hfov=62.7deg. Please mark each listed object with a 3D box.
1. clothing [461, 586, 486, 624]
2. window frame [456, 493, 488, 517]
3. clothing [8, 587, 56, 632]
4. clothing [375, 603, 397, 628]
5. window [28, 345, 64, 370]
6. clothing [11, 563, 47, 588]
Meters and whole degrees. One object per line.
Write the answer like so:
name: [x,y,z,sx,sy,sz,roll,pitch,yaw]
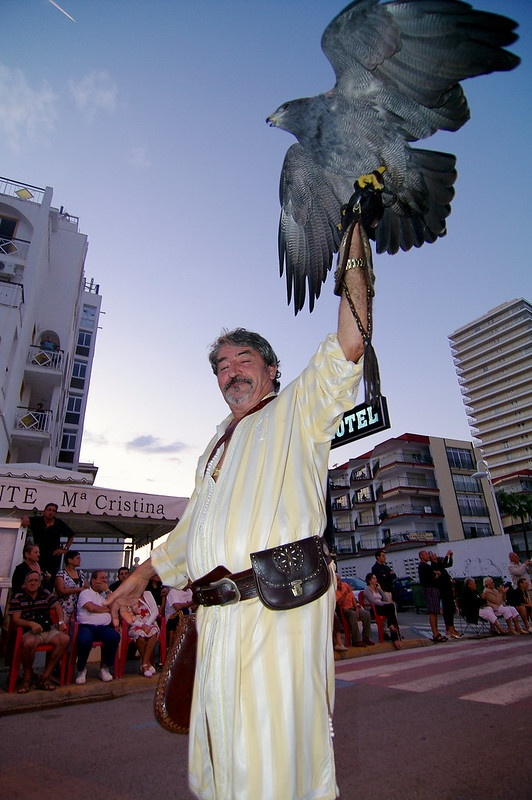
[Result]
clothing: [4.581,4.705,9.828,0.510,0.881,0.867,-9,-20,20]
window frame: [20.602,10.850,44.492,3.384,1.803,0.255,14,-33,-29]
clothing: [-2.824,2.611,5.329,0.640,0.469,0.311,15,-35,-36]
clothing: [2.356,4.270,8.500,0.348,0.432,0.581,2,-18,-12]
window: [-8.745,-1.728,17.471,1.244,0.709,0.584,5,-32,-24]
clothing: [-2.976,2.254,5.471,0.266,0.362,0.237,7,-21,-24]
